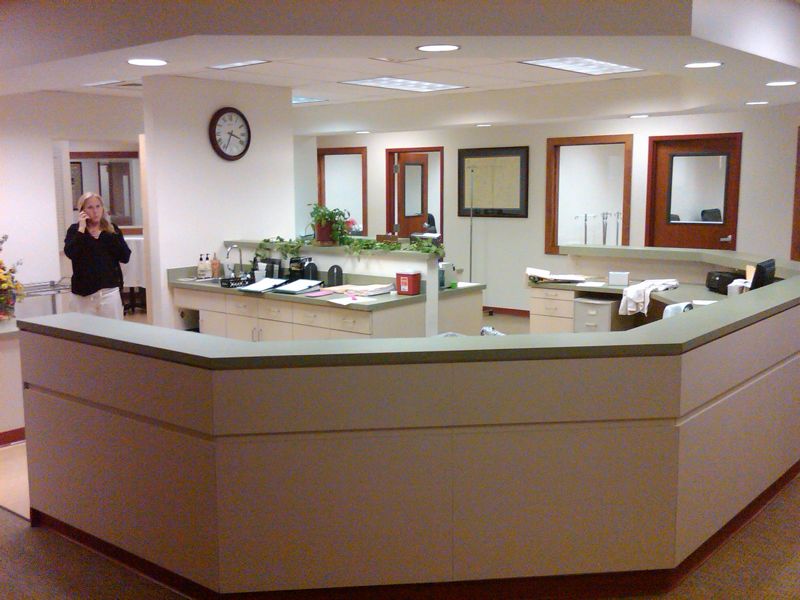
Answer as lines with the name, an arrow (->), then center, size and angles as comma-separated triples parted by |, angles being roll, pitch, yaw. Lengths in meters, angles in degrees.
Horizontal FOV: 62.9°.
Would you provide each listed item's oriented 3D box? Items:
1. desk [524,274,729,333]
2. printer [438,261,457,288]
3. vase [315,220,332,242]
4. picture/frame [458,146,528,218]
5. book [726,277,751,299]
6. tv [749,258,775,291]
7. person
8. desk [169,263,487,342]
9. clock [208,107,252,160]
desk -> 2.271, 0.069, 6.746 | 0.911, 0.573, 1.706 | -10, 11, -41
printer -> 0.463, -0.241, 6.463 | 0.153, 0.259, 0.266 | 3, 8, 31
vase -> -0.780, -0.680, 6.610 | 0.198, 0.193, 0.176 | -2, 7, -16
picture/frame -> 1.370, -1.729, 9.388 | 1.054, 0.981, 0.072 | 2, 8, 24
book -> 2.674, -0.092, 5.152 | 0.127, 0.177, 0.186 | -8, 11, -33
tv -> 2.876, -0.196, 5.187 | 0.271, 0.254, 0.163 | -9, 12, -43
person -> -2.618, -0.370, 5.647 | 0.489, 1.069, 0.199 | -7, 10, -27
desk -> -0.876, 0.063, 6.350 | 2.998, 0.792, 1.402 | 0, 9, 15
clock -> -1.791, -1.729, 6.753 | 0.079, 0.572, 0.568 | 2, 6, 33
